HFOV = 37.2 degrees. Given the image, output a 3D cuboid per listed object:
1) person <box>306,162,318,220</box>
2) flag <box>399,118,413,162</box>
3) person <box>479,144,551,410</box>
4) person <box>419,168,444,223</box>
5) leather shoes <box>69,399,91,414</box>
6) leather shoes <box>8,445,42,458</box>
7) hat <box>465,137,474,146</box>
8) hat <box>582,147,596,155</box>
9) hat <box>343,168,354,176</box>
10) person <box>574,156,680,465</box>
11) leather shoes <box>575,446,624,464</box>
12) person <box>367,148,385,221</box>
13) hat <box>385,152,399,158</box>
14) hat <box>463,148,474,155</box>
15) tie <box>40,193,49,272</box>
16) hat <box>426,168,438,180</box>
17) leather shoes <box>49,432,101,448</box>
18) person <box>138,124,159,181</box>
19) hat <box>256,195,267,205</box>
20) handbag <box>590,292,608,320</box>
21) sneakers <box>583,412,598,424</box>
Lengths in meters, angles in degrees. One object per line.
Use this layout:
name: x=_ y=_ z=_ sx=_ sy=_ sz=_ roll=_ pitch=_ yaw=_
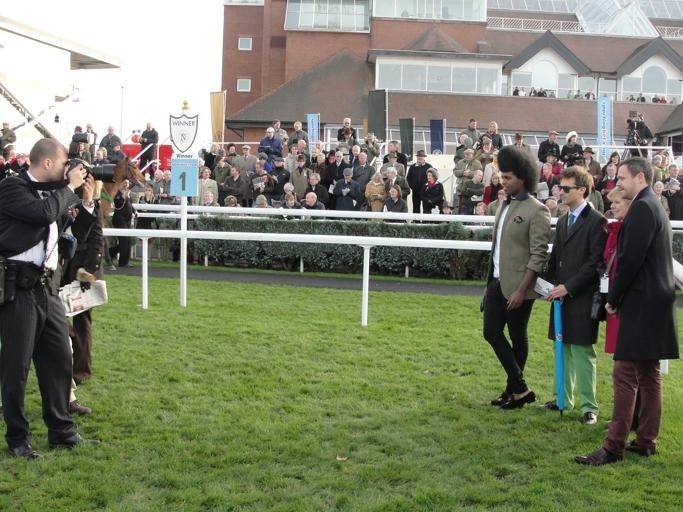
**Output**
person: x=-0.471 y=-1.129 z=16.937 sx=0.255 sy=0.500 sz=0.834 roll=0 pitch=15 yaw=-2
flag: x=1.455 y=-2.690 z=23.004 sx=0.295 sy=0.929 sz=0.706 roll=2 pitch=14 yaw=3
person: x=1.668 y=0.192 z=9.903 sx=0.603 sy=2.497 sz=0.644 roll=3 pitch=14 yaw=8
person: x=1.519 y=-1.076 z=17.042 sx=0.391 sy=0.788 sz=0.651 roll=2 pitch=15 yaw=4
leather shoes: x=-2.466 y=1.432 z=9.621 sx=0.236 sy=0.112 sz=0.088 roll=8 pitch=5 yaw=-1
leather shoes: x=-2.758 y=1.721 z=8.884 sx=0.274 sy=0.121 sz=0.108 roll=7 pitch=39 yaw=-12
hat: x=2.239 y=-2.003 z=18.020 sx=0.166 sy=0.094 sz=0.233 roll=4 pitch=20 yaw=3
hat: x=4.206 y=-1.815 z=17.456 sx=0.165 sy=0.069 sz=0.155 roll=13 pitch=9 yaw=28
hat: x=0.093 y=-1.408 z=16.802 sx=0.118 sy=0.145 sz=0.138 roll=3 pitch=-16 yaw=0
person: x=2.611 y=0.491 z=9.019 sx=0.740 sy=2.584 sz=0.930 roll=5 pitch=15 yaw=18
leather shoes: x=2.271 y=1.788 z=9.071 sx=0.401 sy=0.162 sz=0.162 roll=1 pitch=-13 yaw=-3
person: x=0.552 y=-1.027 z=16.685 sx=0.353 sy=0.670 sz=0.888 roll=1 pitch=15 yaw=2
hat: x=0.858 y=-1.755 z=17.572 sx=0.237 sy=0.082 sz=0.273 roll=0 pitch=5 yaw=10
hat: x=2.125 y=-1.775 z=17.208 sx=0.145 sy=0.117 sz=0.265 roll=3 pitch=15 yaw=8
tie: x=-2.627 y=-0.178 z=9.022 sx=0.068 sy=0.567 sz=0.063 roll=3 pitch=3 yaw=-4
hat: x=1.464 y=-1.377 z=17.006 sx=0.149 sy=0.193 sz=0.179 roll=0 pitch=5 yaw=-26
leather shoes: x=-2.391 y=1.658 z=9.161 sx=0.458 sy=0.182 sz=0.161 roll=0 pitch=2 yaw=-15
person: x=-4.450 y=-2.516 z=23.453 sx=0.431 sy=1.269 sz=1.951 roll=-2 pitch=15 yaw=-11
hat: x=-1.321 y=-0.908 z=16.651 sx=0.180 sy=0.219 sz=0.322 roll=-1 pitch=15 yaw=-8
handbag: x=2.372 y=0.463 z=9.425 sx=0.106 sy=0.249 sz=0.270 roll=1 pitch=2 yaw=9
sneakers: x=2.348 y=1.540 z=9.690 sx=0.091 sy=0.103 sz=0.115 roll=-3 pitch=3 yaw=8
